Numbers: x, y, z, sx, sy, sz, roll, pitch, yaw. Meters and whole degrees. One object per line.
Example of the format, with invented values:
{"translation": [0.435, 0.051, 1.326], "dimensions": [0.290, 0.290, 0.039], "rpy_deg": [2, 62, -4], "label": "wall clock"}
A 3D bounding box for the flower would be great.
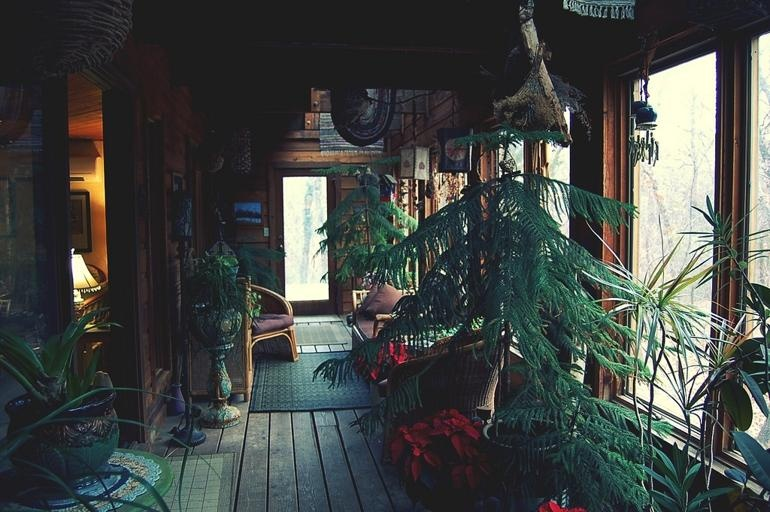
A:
{"translation": [0.288, 0.979, 3.004], "dimensions": [0.364, 0.143, 0.401], "rpy_deg": [-6, 42, 15], "label": "flower"}

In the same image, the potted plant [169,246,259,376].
{"translation": [-1.268, 0.389, 4.626], "dimensions": [0.770, 1.128, 0.744], "rpy_deg": [1, 4, -11], "label": "potted plant"}

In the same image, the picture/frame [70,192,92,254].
{"translation": [-2.504, -0.285, 4.955], "dimensions": [0.144, 0.506, 0.146], "rpy_deg": [-4, 9, -28], "label": "picture/frame"}

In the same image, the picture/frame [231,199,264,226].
{"translation": [-1.886, -0.595, 8.123], "dimensions": [0.359, 0.334, 0.050], "rpy_deg": [1, -5, -12], "label": "picture/frame"}
